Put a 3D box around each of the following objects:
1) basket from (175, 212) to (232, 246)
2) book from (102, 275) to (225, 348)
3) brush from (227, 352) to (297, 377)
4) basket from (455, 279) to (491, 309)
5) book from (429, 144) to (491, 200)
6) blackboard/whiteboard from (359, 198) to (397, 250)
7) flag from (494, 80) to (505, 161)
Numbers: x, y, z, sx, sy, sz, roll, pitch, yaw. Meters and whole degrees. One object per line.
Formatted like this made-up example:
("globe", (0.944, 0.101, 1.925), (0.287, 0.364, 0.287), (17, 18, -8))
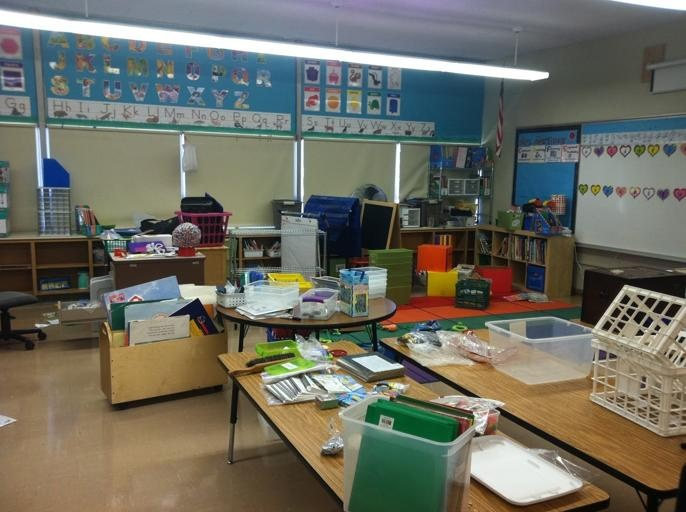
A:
("basket", (-1.659, -0.351, 6.242), (0.498, 0.401, 0.628), (-2, 11, -24))
("book", (-1.479, 0.401, 4.044), (0.636, 0.162, 0.596), (2, 10, 11))
("brush", (-0.447, 0.595, 2.866), (0.272, 0.051, 0.153), (-7, 8, -36))
("basket", (1.712, 0.478, 6.764), (0.398, 0.339, 0.393), (4, 7, 27))
("book", (1.939, -1.435, 8.663), (1.027, 0.834, 0.349), (-1, 3, -12))
("blackboard/whiteboard", (0.483, -0.419, 7.158), (0.334, 0.820, 0.740), (7, -2, -40))
("flag", (2.602, -2.274, 8.490), (0.158, 1.263, 0.657), (5, 14, 16))
